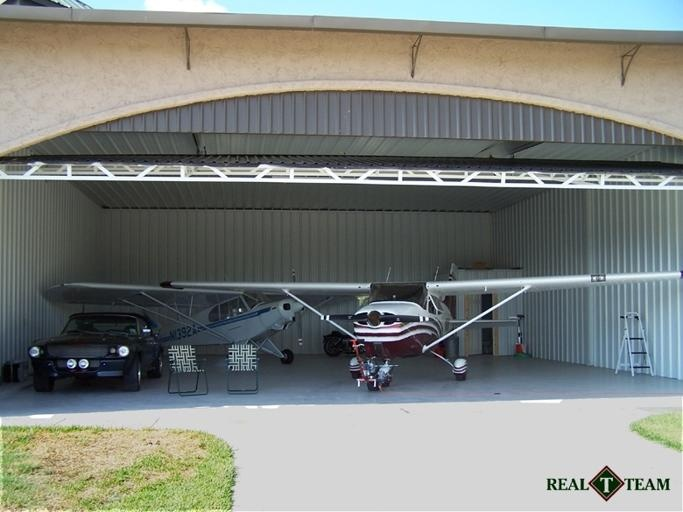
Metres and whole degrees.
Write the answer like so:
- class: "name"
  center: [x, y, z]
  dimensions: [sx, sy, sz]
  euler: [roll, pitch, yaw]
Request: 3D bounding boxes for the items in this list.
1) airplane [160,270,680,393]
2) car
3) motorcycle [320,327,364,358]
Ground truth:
- class: "airplane"
  center: [1.394, 1.426, 14.967]
  dimensions: [8.473, 2.362, 4.132]
  euler: [3, 6, 38]
- class: "car"
  center: [-4.588, 1.925, 13.566]
  dimensions: [1.785, 1.500, 2.306]
  euler: [0, 5, 7]
- class: "motorcycle"
  center: [-0.085, 2.487, 19.931]
  dimensions: [0.990, 0.524, 0.558]
  euler: [1, -2, 2]
